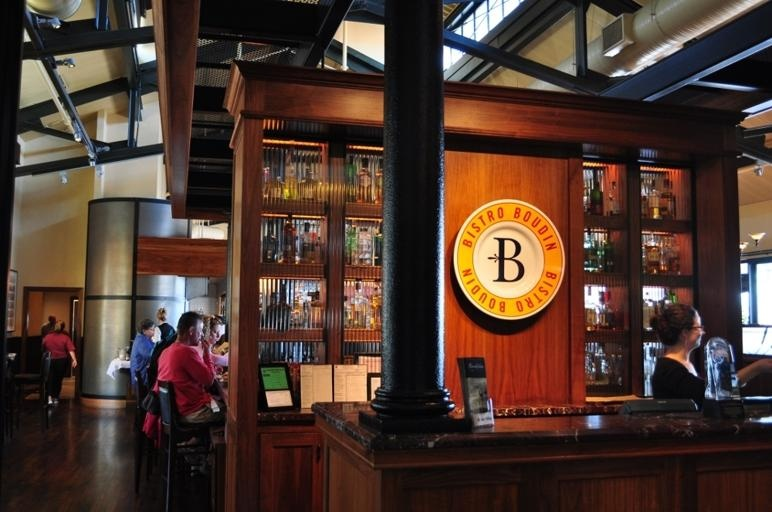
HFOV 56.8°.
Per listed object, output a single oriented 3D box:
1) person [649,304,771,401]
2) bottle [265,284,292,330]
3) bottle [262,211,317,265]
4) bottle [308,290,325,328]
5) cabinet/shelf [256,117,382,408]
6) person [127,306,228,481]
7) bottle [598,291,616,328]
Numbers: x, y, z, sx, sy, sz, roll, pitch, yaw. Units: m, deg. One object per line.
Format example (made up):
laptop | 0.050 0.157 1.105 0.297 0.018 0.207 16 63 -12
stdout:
person | 2.613 0.803 5.889 0.767 0.840 0.511 0 -8 -3
bottle | -0.982 0.453 6.455 0.229 0.443 0.030 0 -8 -4
bottle | -0.903 -0.158 6.510 0.479 0.431 0.152 1 -4 -5
bottle | -0.631 0.481 6.514 0.139 0.332 0.028 -1 -8 7
cabinet/shelf | -0.515 -0.120 6.695 1.254 2.427 0.371 -1 23 -8
person | -2.298 1.573 8.029 0.927 1.871 1.525 2 -8 -19
bottle | 2.220 0.524 7.088 0.170 0.375 0.033 3 -9 -21
